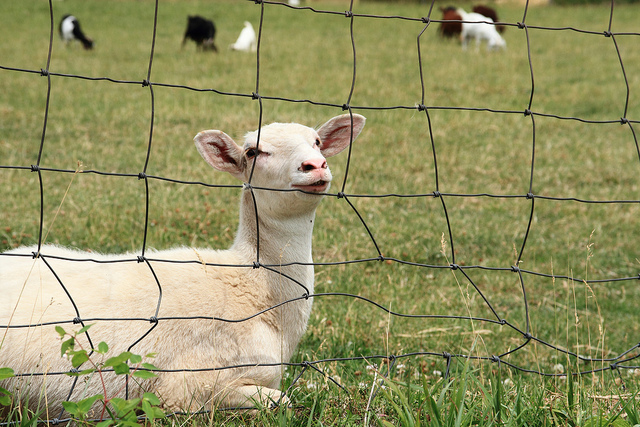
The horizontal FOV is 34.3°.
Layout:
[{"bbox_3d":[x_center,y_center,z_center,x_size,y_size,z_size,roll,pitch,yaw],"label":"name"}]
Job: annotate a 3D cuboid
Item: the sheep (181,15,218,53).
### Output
[{"bbox_3d":[-3.781,-5.637,33.286,1.042,0.788,0.881,15,35,-4],"label":"sheep"}]
